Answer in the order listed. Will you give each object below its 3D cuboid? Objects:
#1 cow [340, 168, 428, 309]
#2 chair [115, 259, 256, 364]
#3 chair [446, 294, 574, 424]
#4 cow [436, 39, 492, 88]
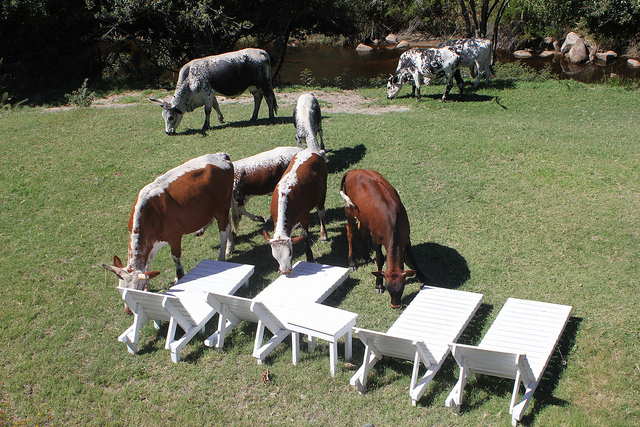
[{"bbox_3d":[1.511,0.488,13.326,1.639,2.055,3.900,-21,46,-10],"label":"cow"},{"bbox_3d":[-3.019,1.860,12.410,1.526,1.392,3.218,7,30,24],"label":"chair"},{"bbox_3d":[4.192,2.885,11.307,1.528,1.455,3.635,8,49,30],"label":"chair"},{"bbox_3d":[7.224,-7.744,26.584,1.044,2.234,3.872,-18,24,-35],"label":"cow"}]
